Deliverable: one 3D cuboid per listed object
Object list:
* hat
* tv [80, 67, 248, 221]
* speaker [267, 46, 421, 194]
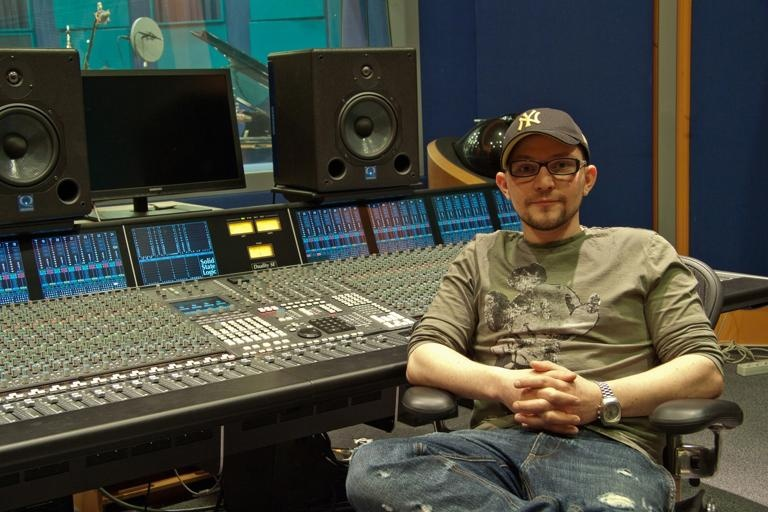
[{"bbox_3d":[0.518,-0.415,2.050,0.264,0.142,0.322,-5,-6,12],"label":"hat"},{"bbox_3d":[-0.968,-0.549,2.800,0.875,0.525,0.311,0,17,18],"label":"tv"},{"bbox_3d":[-0.211,-0.672,3.050,0.688,0.568,0.516,-11,18,-31],"label":"speaker"}]
